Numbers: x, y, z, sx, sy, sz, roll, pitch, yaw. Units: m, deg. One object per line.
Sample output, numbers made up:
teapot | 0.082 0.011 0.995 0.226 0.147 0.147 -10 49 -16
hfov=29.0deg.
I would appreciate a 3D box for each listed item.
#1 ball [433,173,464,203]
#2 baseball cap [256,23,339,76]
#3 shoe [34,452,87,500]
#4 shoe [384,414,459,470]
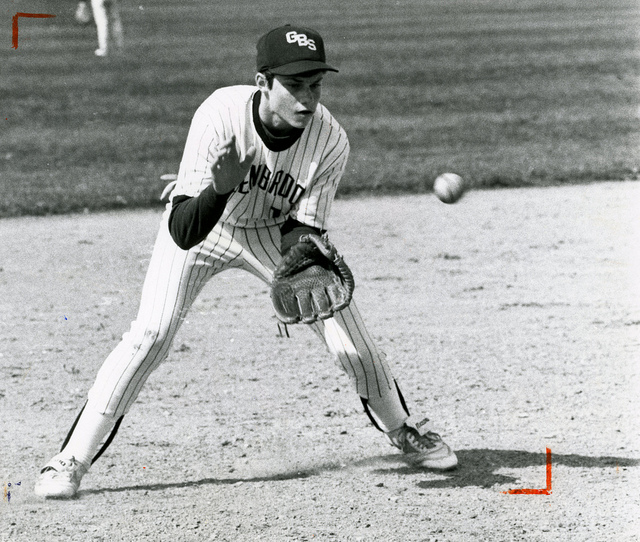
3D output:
ball | 1.019 -0.629 9.466 0.215 0.164 0.210 -9 59 16
baseball cap | -0.125 -1.086 6.053 0.363 0.266 0.481 -5 10 -35
shoe | -1.345 1.005 6.443 0.185 0.172 0.430 12 14 5
shoe | 0.537 0.877 6.585 0.414 0.170 0.213 20 41 38
